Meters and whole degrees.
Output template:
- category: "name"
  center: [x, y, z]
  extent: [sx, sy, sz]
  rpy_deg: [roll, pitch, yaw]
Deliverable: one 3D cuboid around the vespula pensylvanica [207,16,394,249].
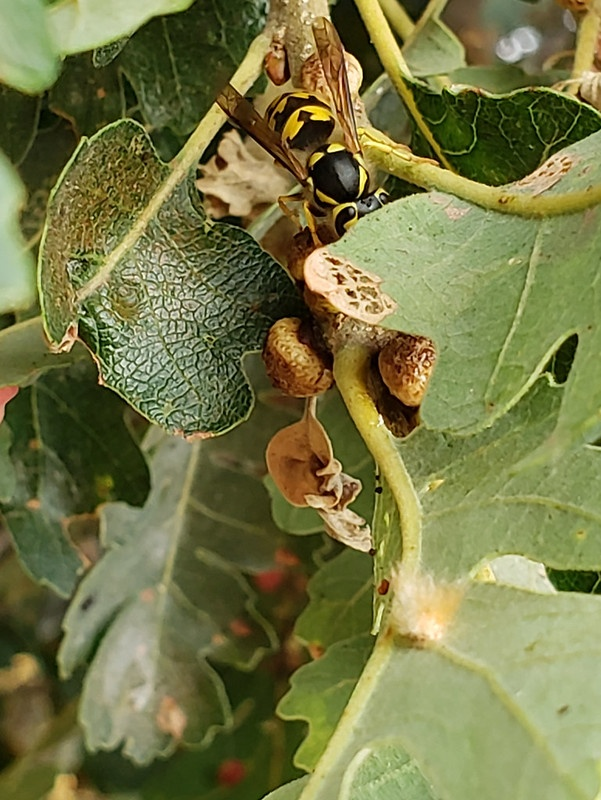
- category: "vespula pensylvanica"
  center: [0.014, -0.171, 0.625]
  extent: [0.115, 0.165, 0.054]
  rpy_deg: [-28, -4, 5]
